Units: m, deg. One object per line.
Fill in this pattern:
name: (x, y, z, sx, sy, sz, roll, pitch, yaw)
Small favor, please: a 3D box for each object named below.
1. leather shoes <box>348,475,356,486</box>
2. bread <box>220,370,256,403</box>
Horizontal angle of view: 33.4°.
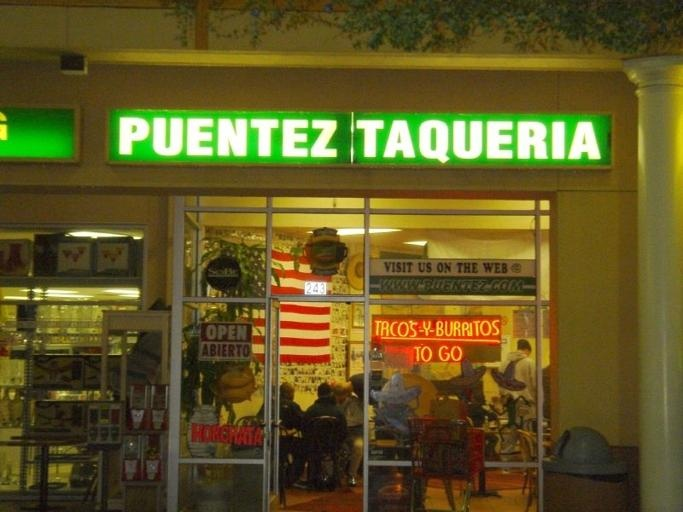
leather shoes: (0.164, 3.384, 17.028, 0.098, 0.121, 0.099, 6, -9, -28)
bread: (-1.315, 1.641, 14.443, 0.377, 0.440, 0.165, 3, 2, -10)
